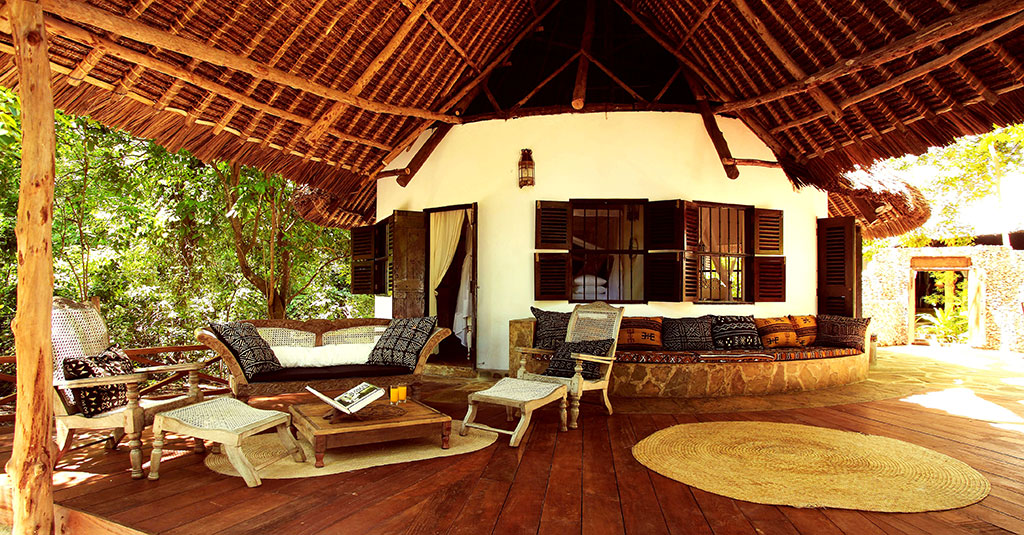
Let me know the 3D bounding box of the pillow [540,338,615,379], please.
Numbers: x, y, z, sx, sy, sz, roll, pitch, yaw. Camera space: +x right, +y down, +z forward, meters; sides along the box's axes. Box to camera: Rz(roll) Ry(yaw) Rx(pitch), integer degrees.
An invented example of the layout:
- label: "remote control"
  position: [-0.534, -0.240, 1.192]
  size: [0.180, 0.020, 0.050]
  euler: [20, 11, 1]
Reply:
- label: "pillow"
  position: [1.031, 1.400, 8.594]
  size: [0.969, 0.587, 0.585]
  euler: [4, 4, 16]

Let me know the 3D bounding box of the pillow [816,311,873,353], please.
- label: "pillow"
  position: [6.102, 1.228, 10.233]
  size: [0.776, 0.679, 0.206]
  euler: [7, -3, 39]

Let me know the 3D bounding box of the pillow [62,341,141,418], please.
- label: "pillow"
  position: [-5.446, 1.501, 7.306]
  size: [0.531, 0.777, 1.046]
  euler: [7, -1, -6]

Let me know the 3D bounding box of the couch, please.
- label: "couch"
  position: [-2.942, 1.469, 8.749]
  size: [3.664, 1.228, 1.313]
  euler: [3, 1, -30]

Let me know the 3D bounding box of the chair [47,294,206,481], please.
- label: "chair"
  position: [-5.278, 1.471, 7.458]
  size: [1.635, 1.871, 1.514]
  euler: [3, 7, 5]

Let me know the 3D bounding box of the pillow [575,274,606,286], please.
- label: "pillow"
  position: [1.537, 0.275, 10.924]
  size: [0.414, 0.102, 0.274]
  euler: [2, 13, 4]

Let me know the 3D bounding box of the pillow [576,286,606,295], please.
- label: "pillow"
  position: [1.567, 0.453, 10.970]
  size: [0.571, 0.142, 0.114]
  euler: [3, 4, 6]

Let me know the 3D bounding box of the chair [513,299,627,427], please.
- label: "chair"
  position: [0.609, 1.512, 9.425]
  size: [1.933, 2.286, 1.873]
  euler: [-4, -9, 45]

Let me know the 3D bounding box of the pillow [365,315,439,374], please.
- label: "pillow"
  position: [-1.821, 1.241, 9.099]
  size: [1.110, 0.808, 0.903]
  euler: [1, -2, -24]

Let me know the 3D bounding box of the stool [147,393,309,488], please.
- label: "stool"
  position: [-3.608, 2.202, 7.016]
  size: [1.710, 0.855, 0.620]
  euler: [3, 4, 4]

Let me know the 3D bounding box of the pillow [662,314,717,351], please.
- label: "pillow"
  position: [3.167, 1.199, 9.902]
  size: [0.668, 0.399, 0.207]
  euler: [2, -31, 4]

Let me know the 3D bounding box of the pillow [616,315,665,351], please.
- label: "pillow"
  position: [2.238, 1.189, 9.761]
  size: [0.816, 0.484, 0.254]
  euler: [1, -30, 3]

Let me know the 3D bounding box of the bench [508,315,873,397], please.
- label: "bench"
  position: [2.875, 1.548, 9.422]
  size: [5.301, 1.209, 2.416]
  euler: [0, -2, -5]

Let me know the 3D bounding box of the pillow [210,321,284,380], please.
- label: "pillow"
  position: [-3.875, 1.184, 8.128]
  size: [0.841, 0.821, 0.711]
  euler: [0, -5, -10]

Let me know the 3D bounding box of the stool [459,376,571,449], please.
- label: "stool"
  position: [0.045, 1.953, 7.881]
  size: [1.871, 0.898, 0.975]
  euler: [-1, -1, 3]

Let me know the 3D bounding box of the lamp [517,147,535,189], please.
- label: "lamp"
  position: [0.262, -1.809, 10.236]
  size: [0.335, 0.709, 0.354]
  euler: [3, 4, 2]

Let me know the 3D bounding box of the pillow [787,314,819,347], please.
- label: "pillow"
  position: [5.410, 1.213, 10.326]
  size: [0.603, 0.556, 0.253]
  euler: [1, -11, -3]
